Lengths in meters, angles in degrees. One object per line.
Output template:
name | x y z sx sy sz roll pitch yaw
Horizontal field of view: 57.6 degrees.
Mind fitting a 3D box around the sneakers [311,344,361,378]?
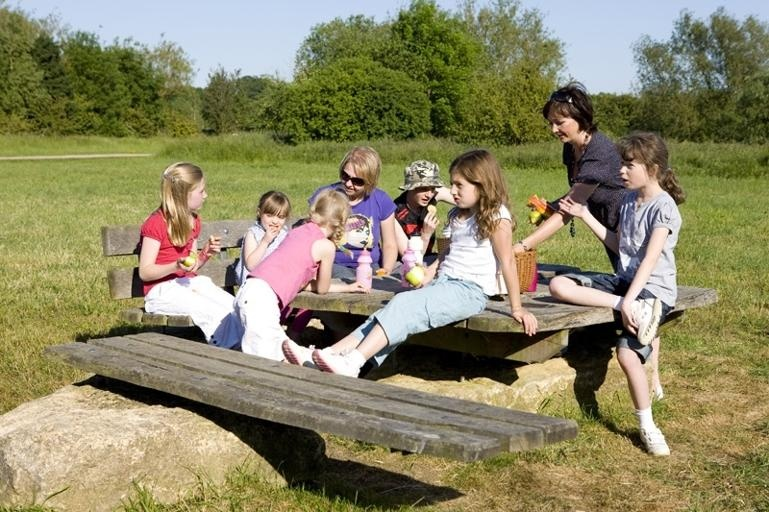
sneakers | -0.337 0.805 5.360 0.474 0.217 0.158 21 -14 -21

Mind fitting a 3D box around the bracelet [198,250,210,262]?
bracelet | -1.718 -0.001 6.668 0.121 0.116 0.029 2 1 32

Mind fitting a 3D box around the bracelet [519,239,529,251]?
bracelet | 1.256 -0.091 6.306 0.039 0.078 0.104 -30 -34 35

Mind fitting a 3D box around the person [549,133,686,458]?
person | 2.023 0.221 6.063 1.035 2.541 1.220 4 13 18

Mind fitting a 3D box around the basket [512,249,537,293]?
basket | 1.266 0.153 6.523 0.272 0.359 0.289 -12 10 -21

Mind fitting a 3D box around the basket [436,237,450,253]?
basket | 0.565 -0.104 6.664 0.129 0.128 0.131 0 4 10

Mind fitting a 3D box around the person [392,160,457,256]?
person | 0.458 -0.448 7.481 0.751 0.994 0.630 -2 -8 11

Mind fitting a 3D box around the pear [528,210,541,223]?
pear | 1.499 -0.390 6.818 0.137 0.101 0.100 -16 1 -12

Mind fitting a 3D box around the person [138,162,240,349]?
person | -1.808 0.007 6.347 0.804 1.661 1.031 -5 13 -23

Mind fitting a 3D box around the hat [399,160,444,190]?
hat | 0.376 -0.875 7.428 0.356 0.188 0.355 -1 -1 -3

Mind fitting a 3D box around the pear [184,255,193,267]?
pear | -1.716 0.047 6.116 0.084 0.076 0.082 8 34 -20

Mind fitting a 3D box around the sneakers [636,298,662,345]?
sneakers | 2.148 0.484 5.663 0.206 0.446 0.150 1 1 8

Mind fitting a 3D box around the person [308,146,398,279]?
person | -0.346 -0.355 7.087 1.066 1.413 0.906 -9 32 -18

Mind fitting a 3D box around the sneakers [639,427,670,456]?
sneakers | 2.200 1.494 5.745 0.122 0.133 0.335 -15 11 -6
